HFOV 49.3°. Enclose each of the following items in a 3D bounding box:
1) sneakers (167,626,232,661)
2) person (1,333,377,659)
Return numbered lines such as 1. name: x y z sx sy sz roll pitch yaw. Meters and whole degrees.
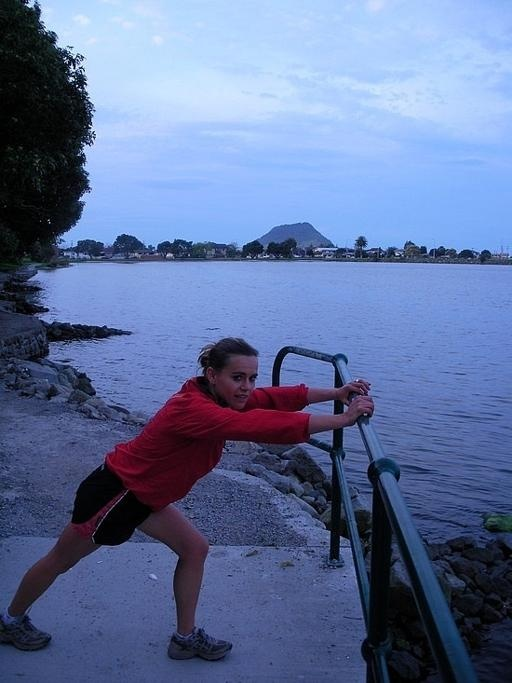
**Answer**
1. sneakers: -0.234 1.274 2.384 0.304 0.133 0.104 2 -6 -4
2. person: -0.309 0.658 2.163 1.373 0.939 0.522 4 1 33
